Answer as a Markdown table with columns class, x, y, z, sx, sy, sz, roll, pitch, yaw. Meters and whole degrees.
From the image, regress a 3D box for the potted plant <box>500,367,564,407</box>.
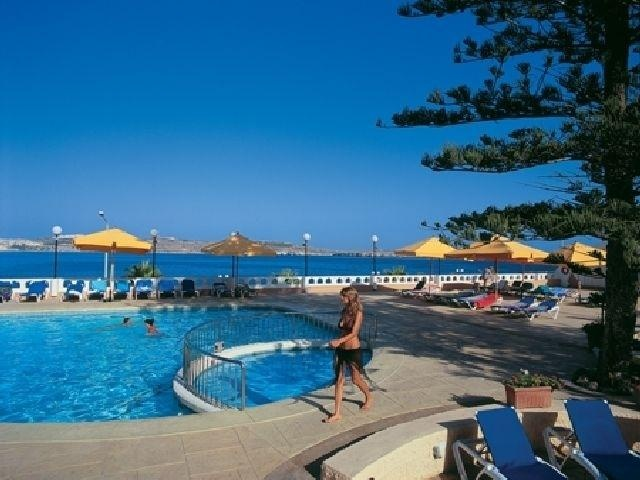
| class | x | y | z | sx | sy | sz | roll | pitch | yaw |
| --- | --- | --- | --- | --- | --- | --- | --- | --- | --- |
| potted plant | 3.685 | 2.669 | 10.954 | 0.831 | 0.450 | 0.749 | 0 | -5 | -8 |
